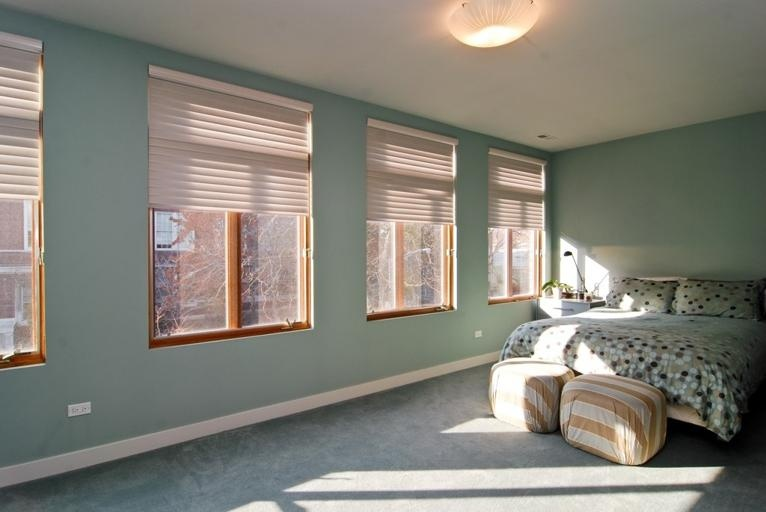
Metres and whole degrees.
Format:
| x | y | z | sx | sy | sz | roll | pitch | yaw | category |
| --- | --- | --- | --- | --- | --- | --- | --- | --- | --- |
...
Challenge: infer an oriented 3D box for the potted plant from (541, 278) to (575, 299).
| x | y | z | sx | sy | sz | roll | pitch | yaw | category |
| --- | --- | --- | --- | --- | --- | --- | --- | --- | --- |
| 2.441 | 0.471 | 7.026 | 0.422 | 0.235 | 0.463 | -2 | -1 | 17 | potted plant |
